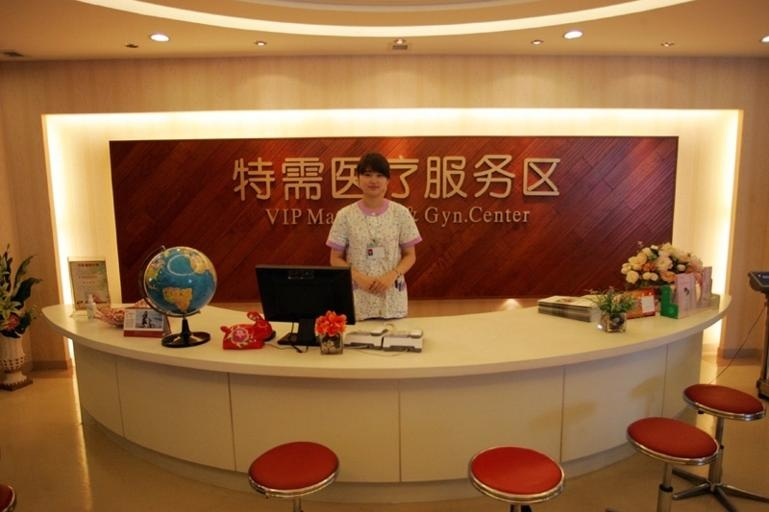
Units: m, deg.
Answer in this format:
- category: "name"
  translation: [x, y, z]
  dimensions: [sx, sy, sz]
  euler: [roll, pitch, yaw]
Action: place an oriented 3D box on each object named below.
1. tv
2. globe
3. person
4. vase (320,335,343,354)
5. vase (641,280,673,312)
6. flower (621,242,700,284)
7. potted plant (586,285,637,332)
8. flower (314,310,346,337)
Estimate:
- category: "tv"
  translation: [-0.642, 0.385, 4.758]
  dimensions: [0.792, 0.611, 0.258]
  euler: [0, 9, 14]
- category: "globe"
  translation: [-1.740, 0.336, 5.022]
  dimensions: [0.609, 0.819, 0.549]
  euler: [7, 21, -1]
- category: "person"
  translation: [-0.098, -0.166, 5.251]
  dimensions: [0.830, 1.470, 0.439]
  euler: [-1, 7, -2]
- category: "vase"
  translation: [-0.429, 0.691, 4.713]
  dimensions: [0.154, 0.142, 0.150]
  euler: [-1, 7, 9]
- category: "vase"
  translation: [2.493, 0.367, 5.323]
  dimensions: [0.327, 0.298, 0.188]
  euler: [2, 18, 29]
- category: "flower"
  translation: [2.515, 0.077, 5.341]
  dimensions: [0.681, 0.392, 0.299]
  euler: [2, 7, 22]
- category: "potted plant"
  translation: [1.962, 0.433, 5.078]
  dimensions: [0.368, 0.364, 0.374]
  euler: [2, 7, 21]
- category: "flower"
  translation: [-0.425, 0.534, 4.650]
  dimensions: [0.208, 0.097, 0.201]
  euler: [6, 32, 9]
